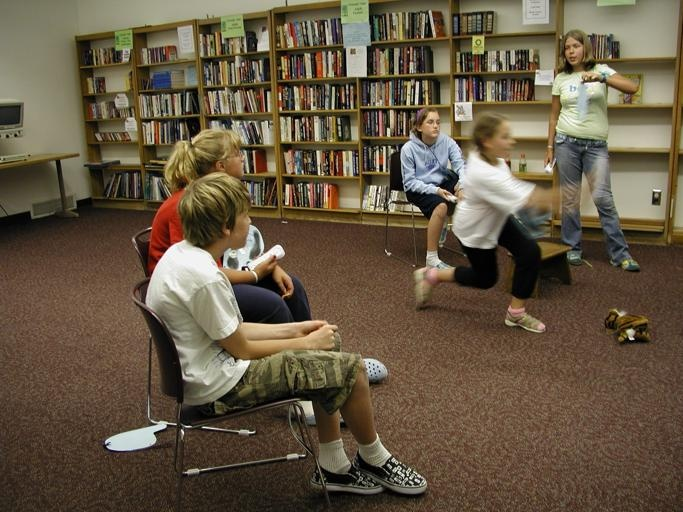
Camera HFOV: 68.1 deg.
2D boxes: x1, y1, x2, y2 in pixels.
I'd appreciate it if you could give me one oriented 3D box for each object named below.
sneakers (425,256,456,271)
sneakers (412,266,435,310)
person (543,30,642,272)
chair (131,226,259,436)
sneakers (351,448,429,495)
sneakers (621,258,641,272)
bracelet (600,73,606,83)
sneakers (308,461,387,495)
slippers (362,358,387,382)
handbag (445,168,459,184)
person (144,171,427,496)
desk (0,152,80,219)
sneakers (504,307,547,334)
[{"bbox_3d":[0.858,0.060,4.408,0.281,0.134,0.102,-4,13,-8],"label":"sneakers"},{"bbox_3d":[0.612,0.242,3.807,0.122,0.317,0.134,0,10,-9],"label":"sneakers"},{"bbox_3d":[2.219,-0.982,4.567,0.902,2.014,0.634,11,20,41],"label":"person"},{"bbox_3d":[-0.815,0.498,2.631,0.471,0.760,0.448,-8,-23,-10],"label":"chair"},{"bbox_3d":[0.200,0.868,2.066,0.291,0.115,0.136,25,22,5],"label":"sneakers"},{"bbox_3d":[2.494,0.078,4.382,0.076,0.083,0.196,-5,7,-4],"label":"sneakers"},{"bbox_3d":[2.223,-1.525,4.330,0.047,0.074,0.079,6,-25,14],"label":"bracelet"},{"bbox_3d":[0.023,0.890,2.065,0.301,0.134,0.130,4,15,-5],"label":"sneakers"},{"bbox_3d":[0.183,0.631,2.808,0.206,0.122,0.086,2,-13,-9],"label":"slippers"},{"bbox_3d":[1.055,-0.759,4.847,0.091,0.162,0.056,5,3,18],"label":"handbag"},{"bbox_3d":[-0.221,0.339,1.998,0.919,1.257,0.544,-3,-1,-15],"label":"person"},{"bbox_3d":[-4.300,-1.010,7.396,0.942,0.958,1.332,-12,19,-30],"label":"desk"},{"bbox_3d":[1.201,0.434,3.360,0.276,0.136,0.116,14,30,23],"label":"sneakers"}]
